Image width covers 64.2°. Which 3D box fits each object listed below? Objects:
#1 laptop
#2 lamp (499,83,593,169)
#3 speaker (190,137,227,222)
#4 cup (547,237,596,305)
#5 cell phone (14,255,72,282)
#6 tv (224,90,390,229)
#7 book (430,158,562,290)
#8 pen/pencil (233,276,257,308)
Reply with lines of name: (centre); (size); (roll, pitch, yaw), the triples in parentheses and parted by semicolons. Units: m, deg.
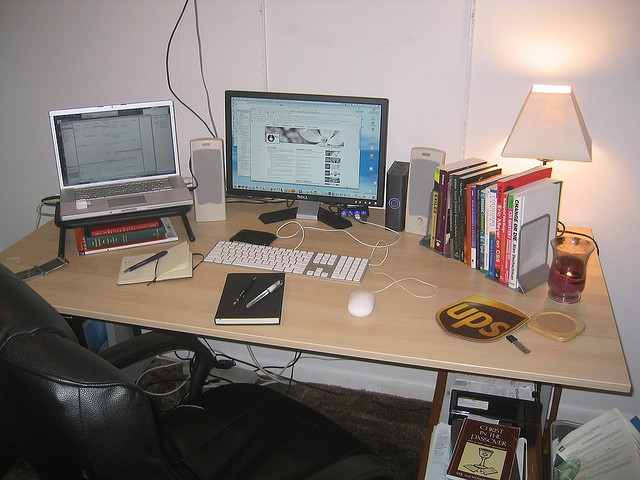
laptop: (-0.751, -0.307, 1.916); (0.467, 0.301, 0.363); (-10, 31, -21)
lamp: (0.835, -0.411, 1.928); (0.273, 0.271, 0.293); (6, 41, 16)
speaker: (-0.462, -0.260, 2.132); (0.133, 0.341, 0.098); (-2, 28, -8)
cup: (0.830, 0.106, 1.701); (0.139, 0.214, 0.143); (3, 10, -1)
cell phone: (-0.977, 0.102, 1.824); (0.186, 0.026, 0.091); (-22, 43, -37)
tv: (-0.046, -0.329, 2.060); (0.554, 0.445, 0.151); (4, 32, 6)
book: (0.616, -0.042, 1.783); (0.350, 0.288, 0.181); (26, 39, 38)
pen/pencil: (-0.248, 0.176, 1.695); (0.020, 0.020, 0.139); (15, 29, 8)
